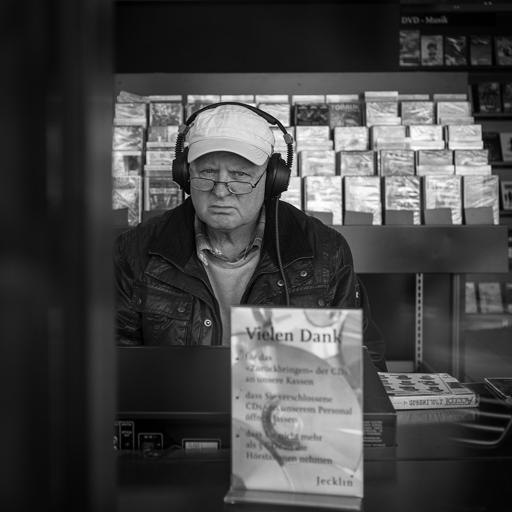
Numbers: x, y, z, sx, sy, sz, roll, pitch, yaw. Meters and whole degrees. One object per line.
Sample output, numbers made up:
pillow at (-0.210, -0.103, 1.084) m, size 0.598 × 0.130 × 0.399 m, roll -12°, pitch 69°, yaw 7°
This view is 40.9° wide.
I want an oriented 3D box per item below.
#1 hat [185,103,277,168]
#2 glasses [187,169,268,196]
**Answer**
hat at (-0.062, -0.279, 1.588) m, size 0.205 × 0.139 × 0.154 m, roll 1°, pitch 10°, yaw -1°
glasses at (-0.068, -0.169, 1.600) m, size 0.171 × 0.051 × 0.065 m, roll 1°, pitch 10°, yaw 0°
